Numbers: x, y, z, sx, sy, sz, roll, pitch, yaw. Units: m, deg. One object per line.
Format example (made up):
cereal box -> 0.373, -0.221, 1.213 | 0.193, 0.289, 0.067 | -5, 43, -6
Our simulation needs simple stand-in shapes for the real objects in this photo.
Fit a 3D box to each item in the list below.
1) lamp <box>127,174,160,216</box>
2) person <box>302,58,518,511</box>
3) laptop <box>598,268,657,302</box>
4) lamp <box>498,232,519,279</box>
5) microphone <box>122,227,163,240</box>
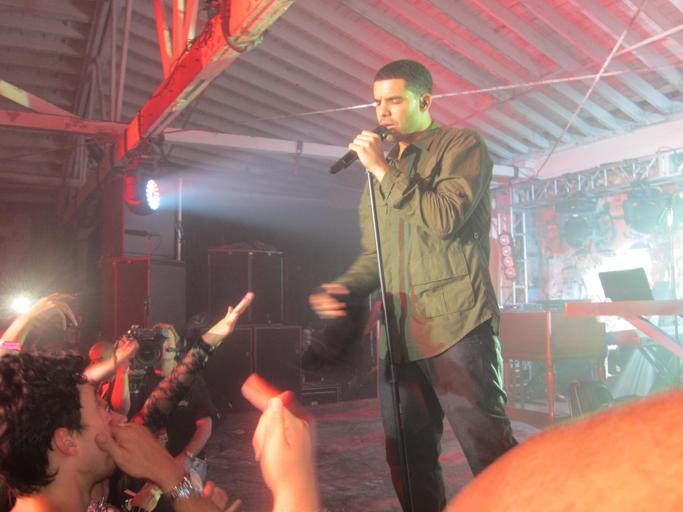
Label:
lamp -> -2.377, -0.745, 6.917 | 0.425, 0.461, 0.303 | 3, -5, -36
person -> 0.342, 0.077, 2.618 | 0.841, 2.083, 0.475 | -1, -4, 18
laptop -> 2.363, 0.240, 4.784 | 0.316, 0.349, 0.457 | 0, 3, 40
lamp -> 3.240, -0.230, 11.223 | 0.302, 0.218, 0.995 | 8, -28, 26
microphone -> -3.014, -0.346, 8.595 | 0.091, 0.105, 0.361 | 3, -9, 39
